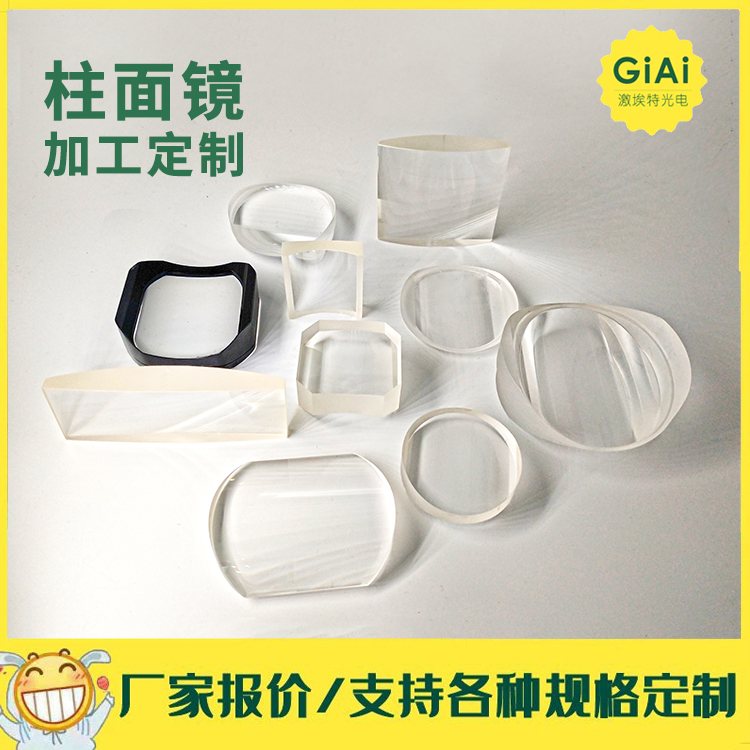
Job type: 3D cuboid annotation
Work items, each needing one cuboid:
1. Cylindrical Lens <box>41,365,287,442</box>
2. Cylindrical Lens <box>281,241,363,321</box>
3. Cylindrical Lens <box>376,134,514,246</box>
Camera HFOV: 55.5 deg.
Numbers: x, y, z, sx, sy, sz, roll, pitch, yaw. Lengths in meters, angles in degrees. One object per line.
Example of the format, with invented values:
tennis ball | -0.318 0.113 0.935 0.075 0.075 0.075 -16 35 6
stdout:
Cylindrical Lens | -0.430 0.069 1.487 0.496 0.111 0.189 -2 -23 -1
Cylindrical Lens | -0.124 -0.220 1.696 0.198 0.021 0.199 3 -62 5
Cylindrical Lens | 0.165 -0.471 1.837 0.330 0.209 0.246 -2 -64 -5
